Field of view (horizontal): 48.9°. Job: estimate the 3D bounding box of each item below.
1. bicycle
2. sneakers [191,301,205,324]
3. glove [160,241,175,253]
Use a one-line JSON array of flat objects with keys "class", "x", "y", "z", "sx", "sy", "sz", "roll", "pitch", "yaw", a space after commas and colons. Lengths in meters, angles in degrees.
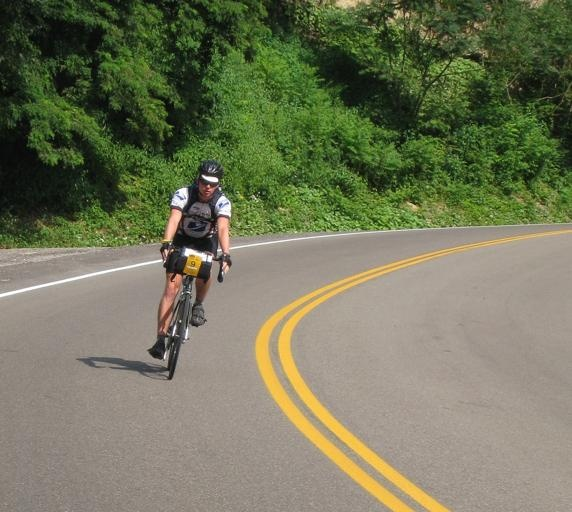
[{"class": "bicycle", "x": -0.966, "y": 0.552, "z": 6.490, "sx": 0.553, "sy": 1.331, "sz": 0.868, "roll": 1, "pitch": 6, "yaw": -10}, {"class": "sneakers", "x": -0.937, "y": 0.629, "z": 6.705, "sx": 0.083, "sy": 0.114, "sz": 0.276, "roll": 0, "pitch": 50, "yaw": -4}, {"class": "glove", "x": -1.179, "y": -0.084, "z": 6.202, "sx": 0.076, "sy": 0.129, "sz": 0.053, "roll": 4, "pitch": 1, "yaw": 1}]
